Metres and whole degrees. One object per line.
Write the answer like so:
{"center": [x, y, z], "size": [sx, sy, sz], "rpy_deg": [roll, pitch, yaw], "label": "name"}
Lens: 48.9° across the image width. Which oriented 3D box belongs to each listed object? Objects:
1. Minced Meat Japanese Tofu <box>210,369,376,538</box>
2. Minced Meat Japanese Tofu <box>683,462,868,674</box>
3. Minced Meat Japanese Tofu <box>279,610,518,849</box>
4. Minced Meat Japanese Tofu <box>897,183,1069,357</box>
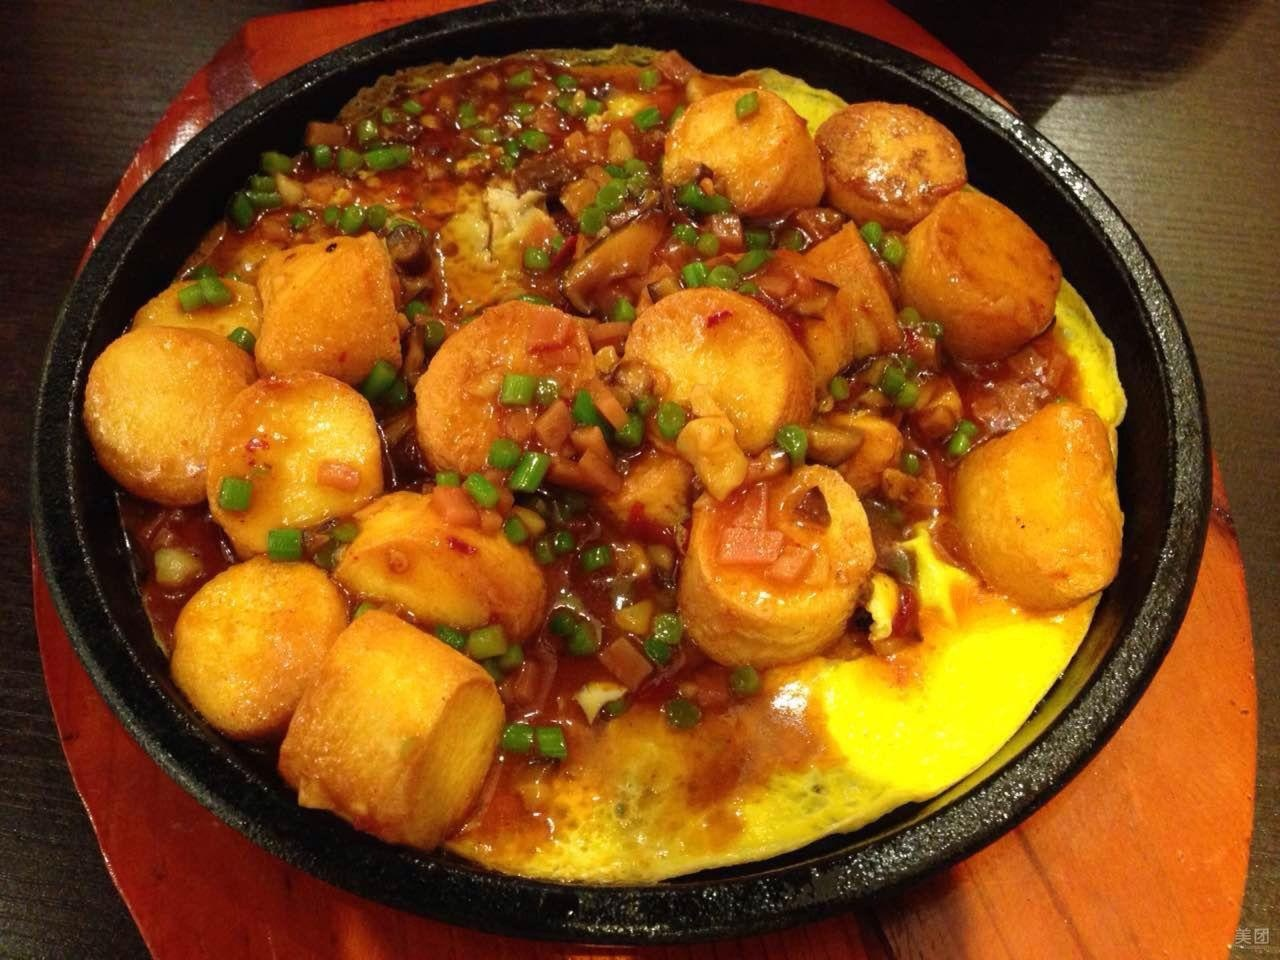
{"center": [-1.498, -0.093, 6.038], "size": [0.756, 0.191, 0.659], "rpy_deg": [-23, 79, -7], "label": "Minced Meat Japanese Tofu"}
{"center": [0.582, 0.389, 6.074], "size": [0.833, 0.259, 0.746], "rpy_deg": [-15, 78, -6], "label": "Minced Meat Japanese Tofu"}
{"center": [-0.995, 1.039, 5.724], "size": [0.784, 0.333, 0.813], "rpy_deg": [26, 77, 4], "label": "Minced Meat Japanese Tofu"}
{"center": [1.616, -0.943, 6.651], "size": [0.708, 0.497, 0.798], "rpy_deg": [-16, 89, -4], "label": "Minced Meat Japanese Tofu"}
